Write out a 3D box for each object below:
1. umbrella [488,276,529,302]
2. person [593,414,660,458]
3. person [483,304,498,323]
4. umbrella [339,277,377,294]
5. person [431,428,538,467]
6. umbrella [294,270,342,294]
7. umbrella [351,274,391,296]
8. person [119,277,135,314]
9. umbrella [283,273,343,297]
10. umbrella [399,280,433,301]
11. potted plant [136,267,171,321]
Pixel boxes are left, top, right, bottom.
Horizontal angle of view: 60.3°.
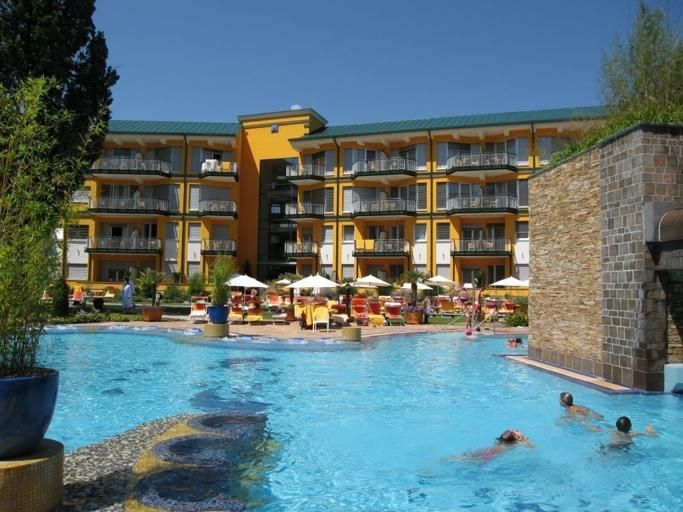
[{"bbox_3d":[10.096,2.003,35.482,1.862,1.294,1.902,-2,-1,40],"label":"umbrella"},{"bbox_3d":[5.566,3.554,11.514,1.035,0.206,0.801,-28,14,-41],"label":"person"},{"bbox_3d":[7.536,2.853,29.732,0.946,0.486,1.489,0,0,9],"label":"person"},{"bbox_3d":[0.956,1.697,33.351,1.674,0.787,1.629,-1,1,-15],"label":"umbrella"},{"bbox_3d":[2.838,3.686,11.194,1.379,0.408,0.679,-9,-3,-14],"label":"person"},{"bbox_3d":[-1.349,1.227,25.523,1.863,0.915,1.947,-2,0,29],"label":"umbrella"},{"bbox_3d":[1.261,1.331,29.006,1.571,0.693,1.516,0,-4,-16],"label":"umbrella"},{"bbox_3d":[-10.251,1.859,28.269,0.463,1.665,0.976,0,5,-14],"label":"person"},{"bbox_3d":[-1.325,1.212,25.570,1.999,0.998,2.111,-3,-2,30],"label":"umbrella"},{"bbox_3d":[4.005,2.015,32.125,1.387,0.548,1.412,-3,0,31],"label":"umbrella"},{"bbox_3d":[-11.614,2.332,36.292,2.342,3.523,2.597,1,-2,-20],"label":"potted plant"}]
